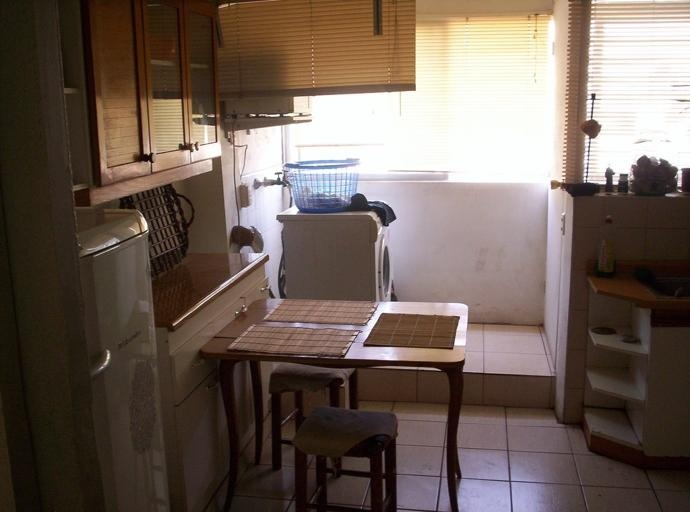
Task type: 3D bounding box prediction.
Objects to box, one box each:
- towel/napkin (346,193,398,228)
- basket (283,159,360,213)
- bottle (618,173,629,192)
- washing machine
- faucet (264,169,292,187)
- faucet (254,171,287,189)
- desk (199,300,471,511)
[{"bbox_3d":[0.192,-0.314,4.013,0.305,0.105,0.232,18,20,-5],"label":"towel/napkin"},{"bbox_3d":[-0.158,-0.475,3.867,0.406,0.257,0.405,-2,14,-4],"label":"basket"},{"bbox_3d":[1.602,-0.416,3.244,0.053,0.102,0.115,5,14,27],"label":"bottle"},{"bbox_3d":[-0.035,-0.133,4.199,0.640,0.883,0.635,2,16,11],"label":"washing machine"},{"bbox_3d":[-0.485,-0.546,4.093,0.178,0.106,0.153,2,12,8],"label":"faucet"},{"bbox_3d":[-0.550,-0.566,4.171,0.246,0.120,0.462,-3,13,-8],"label":"faucet"},{"bbox_3d":[0.014,0.332,2.717,1.204,0.925,0.942,0,11,6],"label":"desk"}]
